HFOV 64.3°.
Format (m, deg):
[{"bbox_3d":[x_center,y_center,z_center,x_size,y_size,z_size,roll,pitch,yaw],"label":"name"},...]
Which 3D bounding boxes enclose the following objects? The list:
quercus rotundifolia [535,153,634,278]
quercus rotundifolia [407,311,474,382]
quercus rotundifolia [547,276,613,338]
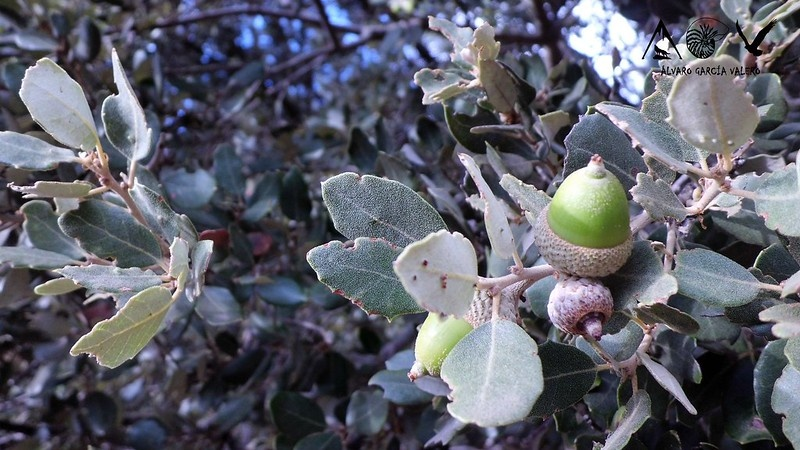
[{"bbox_3d":[0.433,-0.015,1.454,0.231,0.292,0.233,-2,35,10],"label":"quercus rotundifolia"},{"bbox_3d":[0.091,0.275,1.438,0.142,0.135,0.107,1,46,9],"label":"quercus rotundifolia"},{"bbox_3d":[0.405,0.198,1.432,0.134,0.154,0.104,12,49,19],"label":"quercus rotundifolia"}]
